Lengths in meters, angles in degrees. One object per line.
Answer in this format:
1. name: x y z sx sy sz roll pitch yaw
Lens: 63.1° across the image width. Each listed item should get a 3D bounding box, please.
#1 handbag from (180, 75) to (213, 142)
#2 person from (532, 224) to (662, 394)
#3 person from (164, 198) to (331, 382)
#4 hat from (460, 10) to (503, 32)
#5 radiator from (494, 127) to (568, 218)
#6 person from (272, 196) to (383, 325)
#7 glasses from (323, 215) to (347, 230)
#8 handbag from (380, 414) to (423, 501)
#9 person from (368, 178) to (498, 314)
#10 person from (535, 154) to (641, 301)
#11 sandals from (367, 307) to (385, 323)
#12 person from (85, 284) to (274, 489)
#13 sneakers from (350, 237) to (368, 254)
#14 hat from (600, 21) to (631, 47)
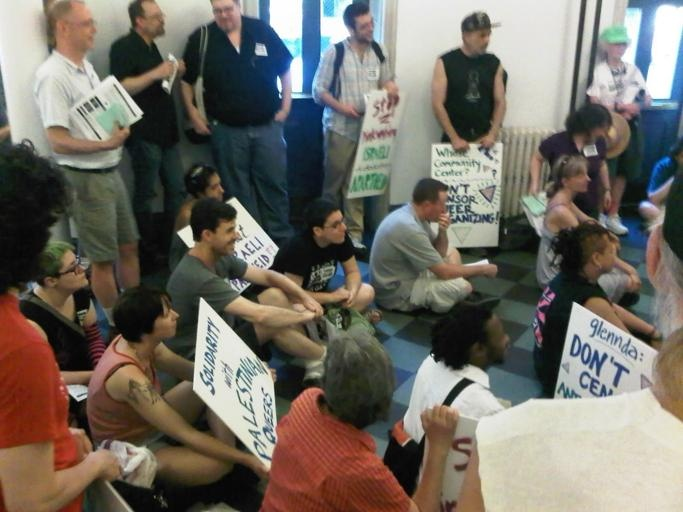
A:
1. handbag: -1.229 -1.243 4.748 0.151 0.468 0.253 -10 17 -11
2. person: 1.397 0.306 3.114 0.622 0.994 0.449 -12 39 5
3. person: -0.518 0.230 3.422 0.964 1.136 0.565 2 21 -2
4. hat: 1.350 -2.255 5.453 0.312 0.163 0.240 -8 20 23
5. radiator: 1.995 -0.872 5.858 0.793 0.941 0.241 -1 14 -11
6. person: -0.073 0.058 4.094 0.776 1.026 0.723 -7 31 -20
7. glasses: -0.048 -0.229 3.895 0.126 0.079 0.104 -11 33 17
8. handbag: 0.247 0.898 2.406 0.109 0.257 0.176 3 5 -18
9. person: 0.771 -0.105 4.679 0.997 1.120 0.812 11 19 33
10. person: 1.973 -0.243 4.535 0.847 1.346 0.759 -6 32 8
11. sandals: 0.257 0.456 4.309 0.084 0.056 0.119 13 10 15
12. person: -0.653 0.483 2.939 1.048 1.138 0.785 1 28 -16
13. sneakers: 0.175 -0.125 5.573 0.110 0.069 0.187 -1 40 -37
14. hat: 2.884 -2.343 5.858 0.189 0.100 0.298 0 32 6
